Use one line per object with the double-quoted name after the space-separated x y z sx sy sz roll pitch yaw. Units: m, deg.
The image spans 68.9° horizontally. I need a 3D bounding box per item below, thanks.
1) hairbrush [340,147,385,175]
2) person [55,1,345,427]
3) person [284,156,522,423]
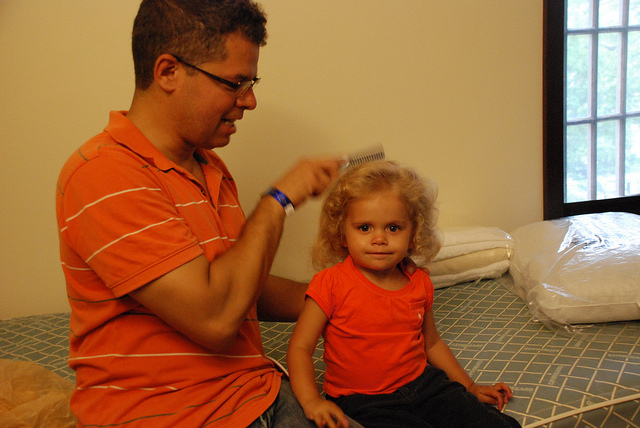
0.163 -0.206 1.754 0.214 0.084 0.070 -11 8 -30 "hairbrush"
-0.429 -0.007 1.502 0.811 1.373 0.466 -7 7 -2 "person"
0.310 0.239 1.892 0.893 1.091 0.835 -6 7 -36 "person"
